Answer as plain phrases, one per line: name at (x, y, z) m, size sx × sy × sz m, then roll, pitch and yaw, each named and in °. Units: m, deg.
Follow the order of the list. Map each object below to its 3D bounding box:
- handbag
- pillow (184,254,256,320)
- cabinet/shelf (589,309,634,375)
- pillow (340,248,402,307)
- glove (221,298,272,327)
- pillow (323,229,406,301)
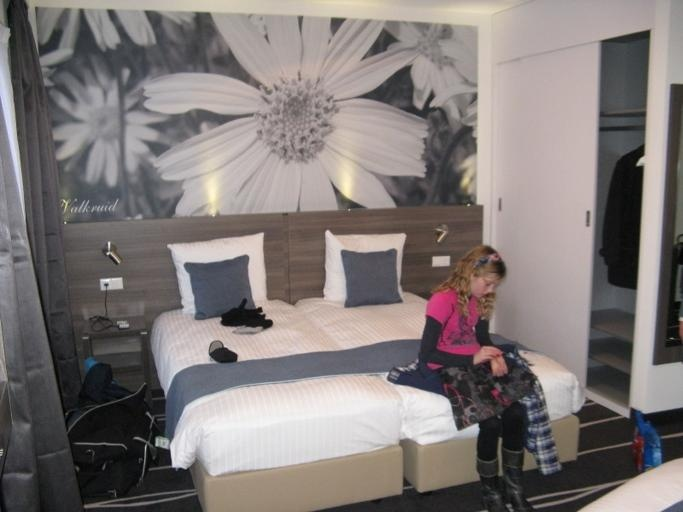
handbag at (-1.469, 1.132, 3.483) m, size 0.542 × 0.533 × 0.758 m, roll -7°, pitch 7°, yaw -23°
pillow at (-0.967, 0.255, 4.172) m, size 0.374 × 0.332 × 0.181 m, roll -16°, pitch 26°, yaw -24°
cabinet/shelf at (2.251, 0.734, 4.484) m, size 0.241 × 0.468 × 0.469 m, roll 1°, pitch 8°, yaw 2°
pillow at (0.231, 0.193, 4.481) m, size 0.417 × 0.421 × 0.146 m, roll -4°, pitch -5°, yaw -13°
glove at (-0.705, 0.418, 3.982) m, size 0.446 × 0.286 × 0.153 m, roll -1°, pitch 5°, yaw -7°
pillow at (0.173, 0.092, 4.570) m, size 0.549 × 0.551 × 0.194 m, roll -2°, pitch -5°, yaw -8°
